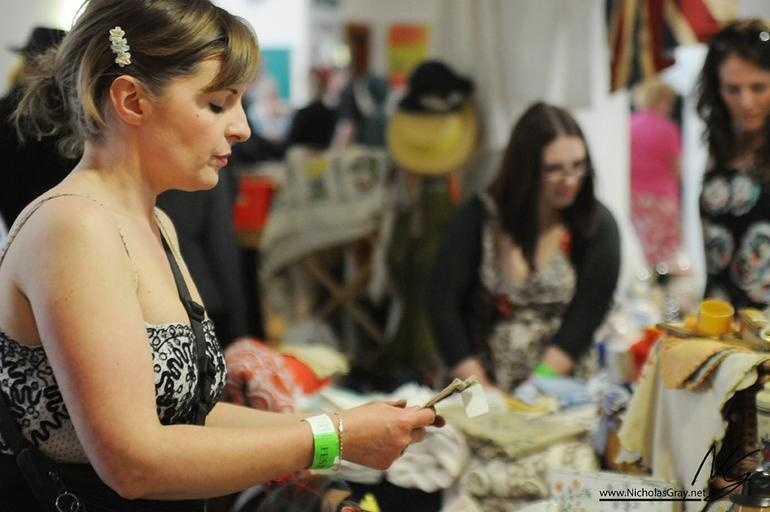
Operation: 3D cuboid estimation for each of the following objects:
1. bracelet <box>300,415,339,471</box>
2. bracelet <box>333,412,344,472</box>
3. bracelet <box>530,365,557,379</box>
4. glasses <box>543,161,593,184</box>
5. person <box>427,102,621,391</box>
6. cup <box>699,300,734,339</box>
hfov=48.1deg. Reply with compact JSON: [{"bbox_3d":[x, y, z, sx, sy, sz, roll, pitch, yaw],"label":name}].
[{"bbox_3d":[-0.126,0.376,1.743,0.067,0.110,0.097,4,17,-9],"label":"bracelet"},{"bbox_3d":[-0.098,0.386,1.780,0.020,0.080,0.081,1,-2,-6],"label":"bracelet"},{"bbox_3d":[0.390,0.286,2.134,0.033,0.035,0.035,1,6,20],"label":"bracelet"},{"bbox_3d":[0.400,-0.188,1.926,0.103,0.047,0.020,0,11,19],"label":"glasses"},{"bbox_3d":[0.340,-0.001,2.239,0.195,0.786,0.687,-7,11,-19],"label":"person"},{"bbox_3d":[0.741,0.133,1.931,0.072,0.072,0.099,5,14,36],"label":"cup"}]
